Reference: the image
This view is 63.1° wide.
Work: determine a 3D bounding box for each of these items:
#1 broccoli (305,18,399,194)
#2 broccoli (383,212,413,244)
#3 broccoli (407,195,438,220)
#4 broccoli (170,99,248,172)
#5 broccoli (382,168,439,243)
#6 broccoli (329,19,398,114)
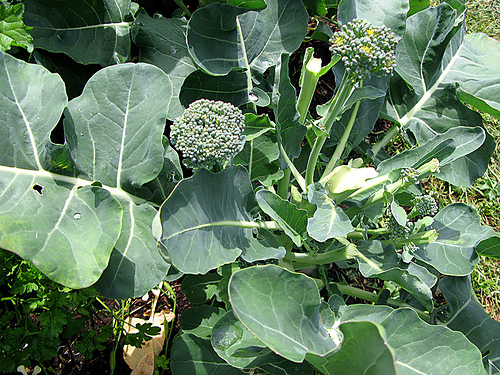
[{"bbox_3d":[0.400,-0.466,1.619,0.297,0.356,0.250,-16,53,-32],"label":"broccoli"},{"bbox_3d":[0.626,0.174,1.734,0.052,0.118,0.118,-1,28,-41],"label":"broccoli"},{"bbox_3d":[0.737,0.096,1.722,0.071,0.040,0.049,-18,28,10],"label":"broccoli"},{"bbox_3d":[-0.157,-0.219,1.535,0.299,0.269,0.272,-3,28,-8],"label":"broccoli"},{"bbox_3d":[0.686,0.083,1.756,0.148,0.327,0.179,-1,22,-7],"label":"broccoli"},{"bbox_3d":[0.422,-0.487,1.593,0.270,0.274,0.212,-12,52,-29],"label":"broccoli"}]
